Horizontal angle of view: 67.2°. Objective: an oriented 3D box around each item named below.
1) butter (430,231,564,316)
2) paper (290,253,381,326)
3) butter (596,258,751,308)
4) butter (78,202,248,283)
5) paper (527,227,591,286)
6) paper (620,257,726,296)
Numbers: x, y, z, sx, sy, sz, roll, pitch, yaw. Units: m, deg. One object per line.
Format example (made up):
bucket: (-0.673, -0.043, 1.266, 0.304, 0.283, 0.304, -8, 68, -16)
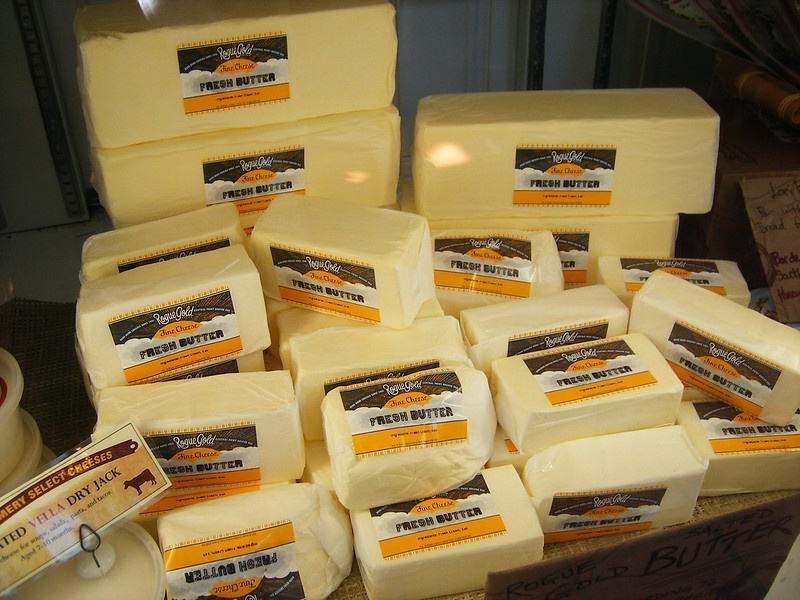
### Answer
butter: (0.314, -0.082, 1.971, 0.392, 0.239, 0.107, -3, 0, 7)
paper: (-0.180, -0.039, 1.759, 0.307, 0.150, 0.005, 12, 46, 21)
butter: (0.936, -0.029, 2.064, 0.485, 0.234, 0.198, -1, 26, -2)
butter: (-0.689, -0.171, 1.791, 0.470, 0.331, 0.101, -11, 71, -4)
paper: (0.537, -0.161, 2.060, 0.291, 0.206, 0.032, -4, 26, -5)
paper: (0.933, -0.042, 2.071, 0.350, 0.171, 0.143, 0, 29, 3)
